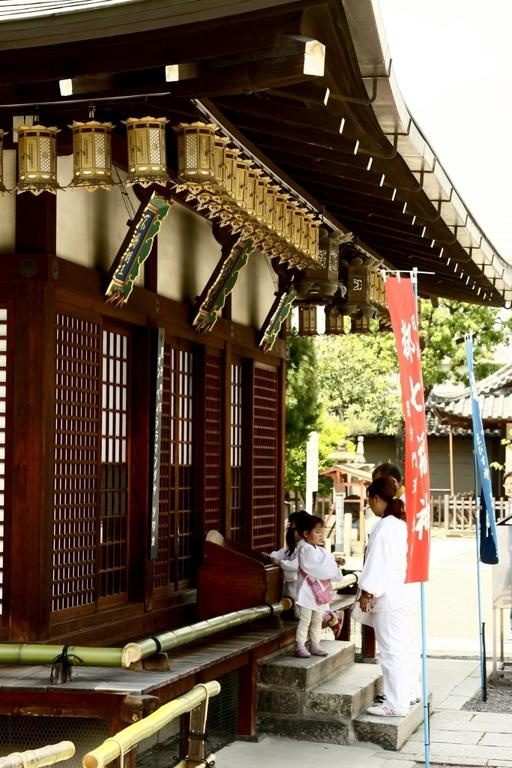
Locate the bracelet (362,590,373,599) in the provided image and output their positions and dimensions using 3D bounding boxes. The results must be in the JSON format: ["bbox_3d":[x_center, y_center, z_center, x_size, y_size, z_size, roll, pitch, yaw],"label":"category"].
[{"bbox_3d":[0.679,1.293,5.583,0.071,0.025,0.053,18,-7,20],"label":"bracelet"}]

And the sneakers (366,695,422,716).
[{"bbox_3d":[0.844,1.995,5.592,0.348,0.140,0.115,6,-7,-1],"label":"sneakers"}]

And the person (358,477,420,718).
[{"bbox_3d":[0.819,1.305,5.680,0.335,1.443,0.412,-2,-6,13],"label":"person"}]

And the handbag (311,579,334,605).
[{"bbox_3d":[0.449,1.400,6.115,0.187,0.168,0.080,4,-8,-42],"label":"handbag"}]

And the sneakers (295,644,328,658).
[{"bbox_3d":[0.372,1.782,6.046,0.169,0.064,0.092,-2,2,5],"label":"sneakers"}]

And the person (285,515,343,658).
[{"bbox_3d":[0.416,1.359,6.200,0.323,0.942,0.401,-1,-6,2],"label":"person"}]
